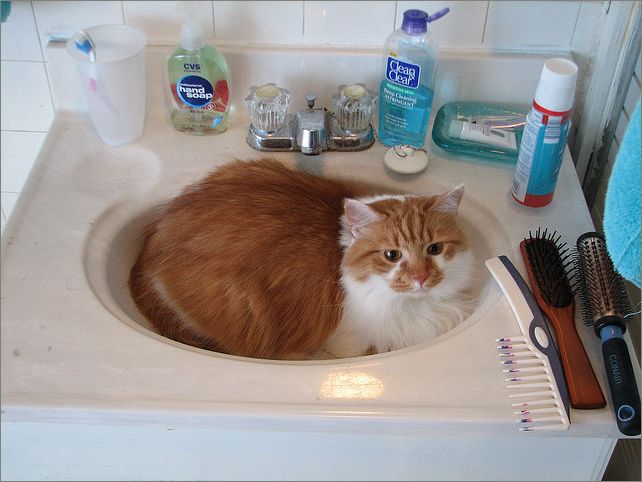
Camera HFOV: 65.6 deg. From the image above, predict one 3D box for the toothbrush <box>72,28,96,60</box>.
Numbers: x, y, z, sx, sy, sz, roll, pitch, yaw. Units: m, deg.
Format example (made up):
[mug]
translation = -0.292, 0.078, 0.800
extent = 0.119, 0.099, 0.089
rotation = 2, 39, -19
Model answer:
[toothbrush]
translation = -0.499, -0.424, 1.064
extent = 0.072, 0.027, 0.037
rotation = 34, 24, 11

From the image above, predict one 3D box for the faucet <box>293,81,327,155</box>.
[faucet]
translation = -0.020, -0.260, 1.100
extent = 0.070, 0.081, 0.135
rotation = 0, 48, 0

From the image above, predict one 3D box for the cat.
[cat]
translation = -0.036, 0.025, 1.187
extent = 0.561, 0.401, 0.635
rotation = -5, 34, -10

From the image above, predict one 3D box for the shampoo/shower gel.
[shampoo/shower gel]
translation = 0.179, -0.351, 1.125
extent = 0.138, 0.304, 0.115
rotation = 30, 46, 31

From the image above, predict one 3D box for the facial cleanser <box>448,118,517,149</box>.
[facial cleanser]
translation = 0.364, -0.232, 1.149
extent = 0.153, 0.037, 0.060
rotation = 14, 72, -3

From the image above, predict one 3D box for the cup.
[cup]
translation = -0.452, -0.360, 1.182
extent = 0.177, 0.253, 0.184
rotation = 1, 37, 0

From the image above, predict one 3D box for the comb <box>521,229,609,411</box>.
[comb]
translation = 0.414, 0.128, 0.861
extent = 0.073, 0.056, 0.303
rotation = -9, 60, 13
